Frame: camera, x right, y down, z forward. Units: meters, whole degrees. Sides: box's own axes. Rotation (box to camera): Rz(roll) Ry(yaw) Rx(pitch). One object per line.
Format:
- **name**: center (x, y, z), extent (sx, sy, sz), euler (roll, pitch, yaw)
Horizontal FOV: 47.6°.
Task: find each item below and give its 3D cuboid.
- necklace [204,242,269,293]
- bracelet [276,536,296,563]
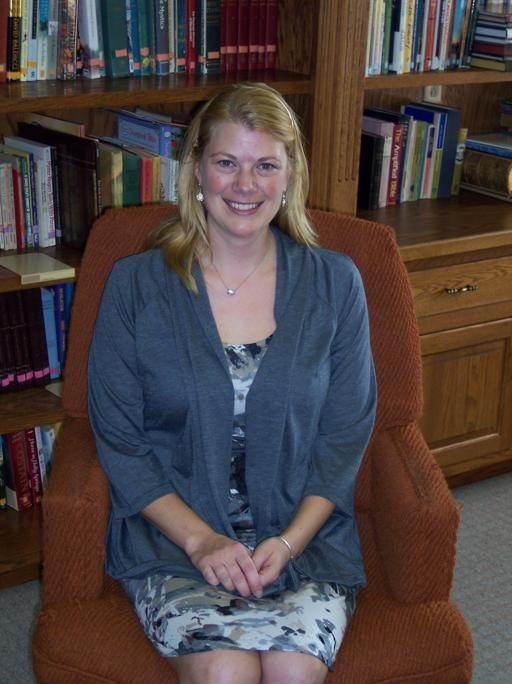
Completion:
- **necklace**: center (-0.040, -0.122, 1.014), extent (0.083, 0.071, 0.019), euler (1, -23, 1)
- **bracelet**: center (0.041, 0.310, 0.871), extent (0.012, 0.030, 0.027), euler (-28, -33, 15)
